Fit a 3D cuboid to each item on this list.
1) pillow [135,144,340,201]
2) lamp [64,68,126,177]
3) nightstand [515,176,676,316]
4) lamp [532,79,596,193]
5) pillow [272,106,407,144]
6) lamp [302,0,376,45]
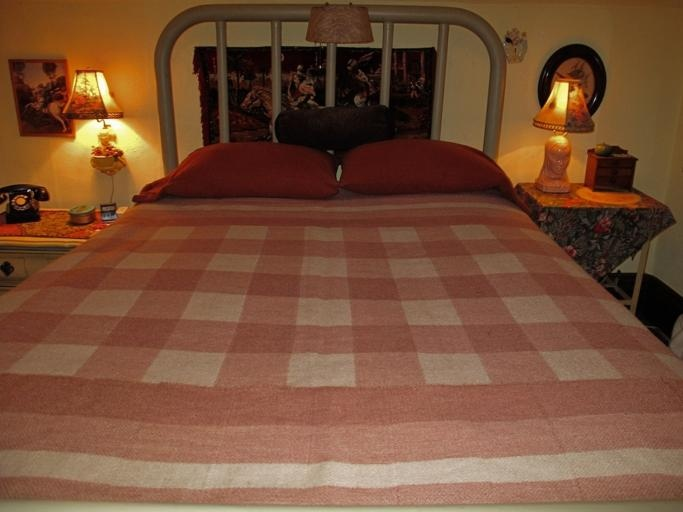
[{"bbox_3d":[-0.421,-0.374,2.180,0.538,0.122,0.424,2,21,-1],"label":"pillow"},{"bbox_3d":[-1.381,-0.726,2.688,0.336,0.584,0.345,11,18,31],"label":"lamp"},{"bbox_3d":[1.289,-0.164,2.790,0.900,0.775,0.692,0,31,1],"label":"nightstand"},{"bbox_3d":[1.185,-0.661,2.635,0.282,0.583,0.433,8,24,15],"label":"lamp"},{"bbox_3d":[-0.039,-0.656,2.455,0.611,0.219,0.173,1,23,-2],"label":"pillow"},{"bbox_3d":[-0.015,-1.008,2.129,0.232,0.117,0.218,-3,21,-8],"label":"lamp"}]
